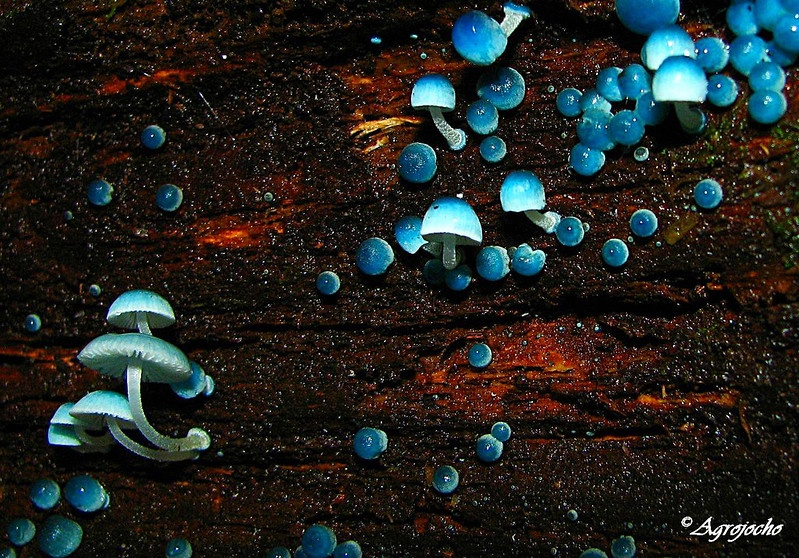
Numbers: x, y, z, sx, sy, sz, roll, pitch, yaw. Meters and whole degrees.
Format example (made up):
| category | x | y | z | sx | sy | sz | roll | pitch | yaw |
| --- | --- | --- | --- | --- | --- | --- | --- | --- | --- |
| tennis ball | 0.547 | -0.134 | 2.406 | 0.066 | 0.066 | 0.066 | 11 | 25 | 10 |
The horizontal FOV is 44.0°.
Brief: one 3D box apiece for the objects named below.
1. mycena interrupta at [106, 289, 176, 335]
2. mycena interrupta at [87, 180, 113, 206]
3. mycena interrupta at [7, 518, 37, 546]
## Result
| category | x | y | z | sx | sy | sz | roll | pitch | yaw |
| --- | --- | --- | --- | --- | --- | --- | --- | --- | --- |
| mycena interrupta | -2.739 | 0.370 | 10.628 | 0.539 | 0.556 | 0.545 | 1 | 75 | 3 |
| mycena interrupta | -3.318 | -0.948 | 11.044 | 0.272 | 0.172 | 0.278 | 19 | 71 | 21 |
| mycena interrupta | -4.206 | 2.834 | 11.089 | 0.295 | 0.154 | 0.264 | -15 | 63 | 6 |
